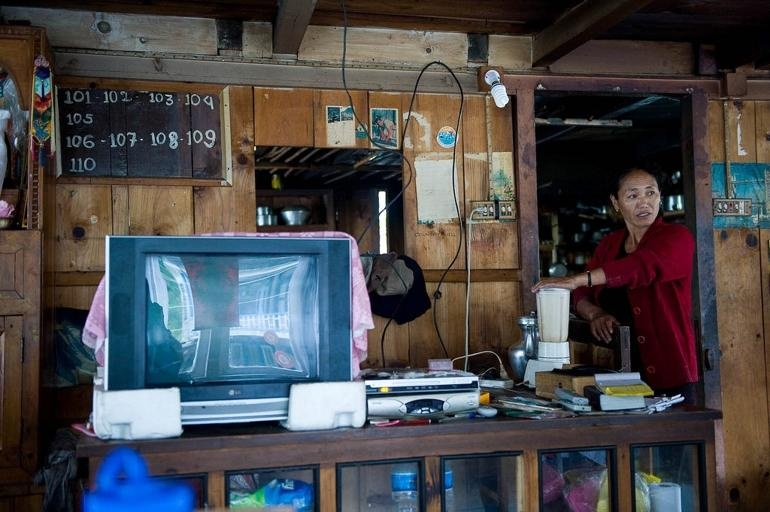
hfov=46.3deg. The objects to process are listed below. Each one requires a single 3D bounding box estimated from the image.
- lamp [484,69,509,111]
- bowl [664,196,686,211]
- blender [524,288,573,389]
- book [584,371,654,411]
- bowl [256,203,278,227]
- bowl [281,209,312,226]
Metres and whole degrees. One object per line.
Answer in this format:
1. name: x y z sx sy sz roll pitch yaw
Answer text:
1. lamp: 0.702 -1.058 5.712 0.158 0.282 0.421 -2 -1 8
2. bowl: 2.281 -0.414 7.125 0.090 0.157 0.171 2 2 -14
3. blender: 0.903 0.451 4.864 0.314 0.587 0.275 0 -8 15
4. book: 1.173 0.668 4.562 0.262 0.096 0.195 3 -3 -35
5. bowl: -0.920 -0.312 6.904 0.159 0.144 0.161 -2 -4 0
6. bowl: -0.693 -0.295 6.914 0.150 0.090 0.146 -1 -2 0
